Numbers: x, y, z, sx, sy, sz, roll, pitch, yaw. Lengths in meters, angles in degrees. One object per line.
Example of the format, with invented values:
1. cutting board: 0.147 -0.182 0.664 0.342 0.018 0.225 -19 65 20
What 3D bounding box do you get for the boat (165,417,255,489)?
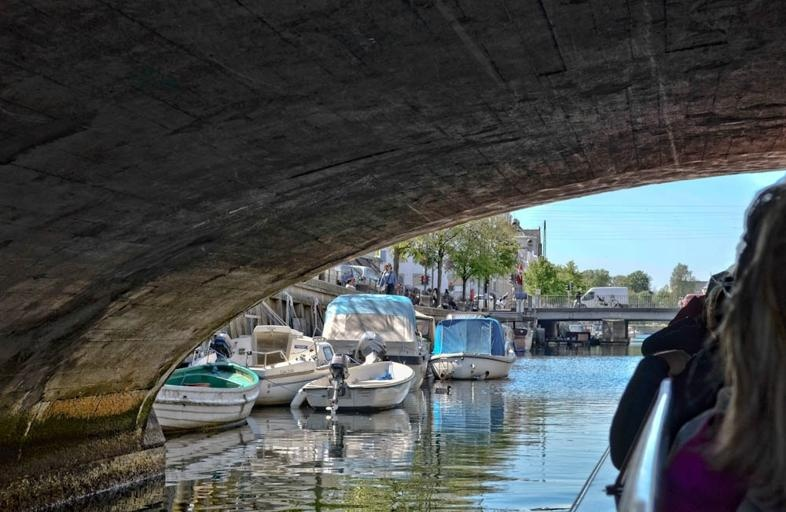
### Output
1. boat: -3.427 3.640 11.538 1.569 0.183 5.146 1 -9 -11
